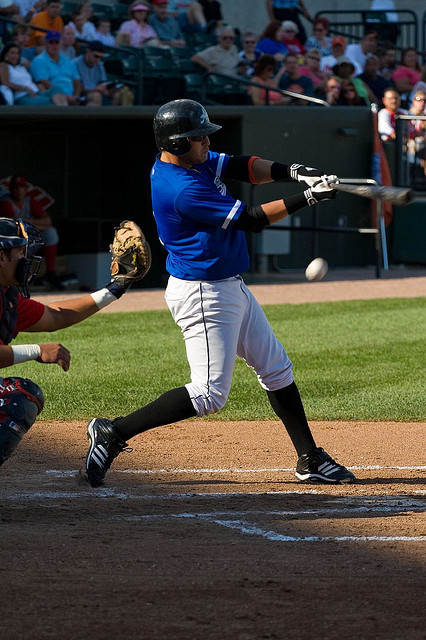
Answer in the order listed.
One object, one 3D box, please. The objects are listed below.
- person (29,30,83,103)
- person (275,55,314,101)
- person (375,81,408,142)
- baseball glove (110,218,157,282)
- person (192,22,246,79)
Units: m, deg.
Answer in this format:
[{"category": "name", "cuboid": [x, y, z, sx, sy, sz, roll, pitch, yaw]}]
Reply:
[{"category": "person", "cuboid": [-1.870, -3.029, 10.198, 0.549, 0.841, 0.628, 22, 28, 34]}, {"category": "person", "cuboid": [1.272, -3.709, 13.037, 0.532, 0.676, 0.231, -31, 17, -28]}, {"category": "person", "cuboid": [2.836, -3.430, 13.609, 0.523, 1.106, 1.303, 2, 4, 11]}, {"category": "baseball glove", "cuboid": [-0.337, -0.309, 3.445, 0.241, 0.130, 0.327, -2, 28, -7]}, {"category": "person", "cuboid": [0.178, -4.114, 12.938, 0.571, 0.941, 1.187, 3, 4, 20]}]
